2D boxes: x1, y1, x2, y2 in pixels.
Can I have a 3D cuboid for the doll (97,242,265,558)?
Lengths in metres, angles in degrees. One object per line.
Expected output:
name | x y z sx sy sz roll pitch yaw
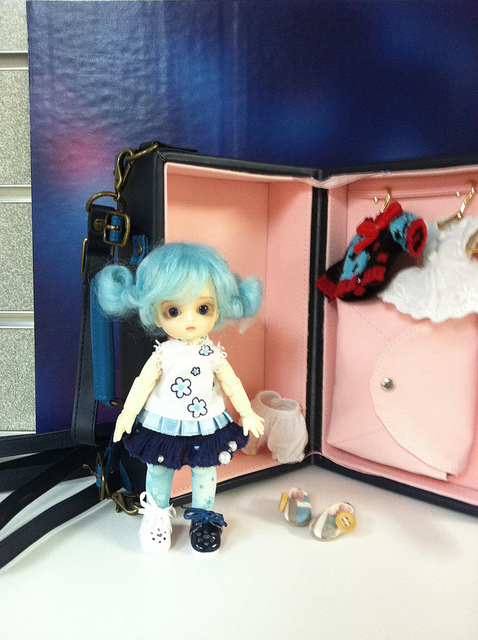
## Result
doll | -0.108 0.135 1.139 0.306 0.556 0.216 0 12 0
